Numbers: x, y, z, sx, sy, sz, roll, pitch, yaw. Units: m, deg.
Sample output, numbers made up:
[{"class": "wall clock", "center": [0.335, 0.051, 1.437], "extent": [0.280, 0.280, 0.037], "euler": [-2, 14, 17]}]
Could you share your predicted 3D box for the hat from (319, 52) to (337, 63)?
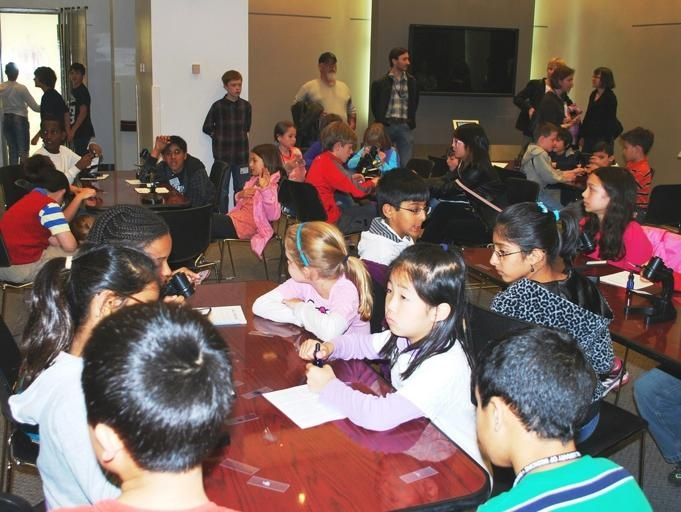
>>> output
[{"class": "hat", "center": [-0.161, -2.517, 6.857], "extent": [0.203, 0.137, 0.157], "euler": [-4, 17, -17]}]

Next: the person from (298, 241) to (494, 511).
[{"class": "person", "center": [0.245, 0.528, 1.909], "extent": [0.631, 1.119, 0.528], "euler": [-5, 20, -6]}]

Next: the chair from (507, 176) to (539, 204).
[{"class": "chair", "center": [1.532, -0.523, 4.515], "extent": [0.171, 0.232, 0.451], "euler": [-1, 16, -6]}]

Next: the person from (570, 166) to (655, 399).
[{"class": "person", "center": [1.590, 0.007, 3.223], "extent": [0.352, 1.012, 0.626], "euler": [-15, 19, -24]}]

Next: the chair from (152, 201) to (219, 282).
[{"class": "chair", "center": [-1.000, -0.172, 3.620], "extent": [0.366, 0.674, 0.442], "euler": [-6, 42, -23]}]

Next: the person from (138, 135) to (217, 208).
[{"class": "person", "center": [-1.464, -0.594, 4.807], "extent": [0.592, 0.988, 0.469], "euler": [-6, 16, -9]}]

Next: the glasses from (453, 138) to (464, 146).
[{"class": "glasses", "center": [1.044, -1.001, 4.755], "extent": [0.050, 0.069, 0.069], "euler": [29, 39, 27]}]

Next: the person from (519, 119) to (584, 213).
[{"class": "person", "center": [2.182, -0.791, 5.535], "extent": [0.593, 1.110, 0.462], "euler": [7, 33, 21]}]

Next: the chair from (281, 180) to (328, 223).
[{"class": "chair", "center": [-0.320, -0.442, 4.305], "extent": [0.158, 0.360, 0.820], "euler": [-6, 18, -22]}]

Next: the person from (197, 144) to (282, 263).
[{"class": "person", "center": [-0.779, -0.491, 4.565], "extent": [0.813, 1.055, 0.650], "euler": [3, 22, -13]}]

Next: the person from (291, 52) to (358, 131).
[{"class": "person", "center": [-0.170, -1.925, 7.128], "extent": [0.896, 1.483, 0.554], "euler": [-5, 16, -12]}]
